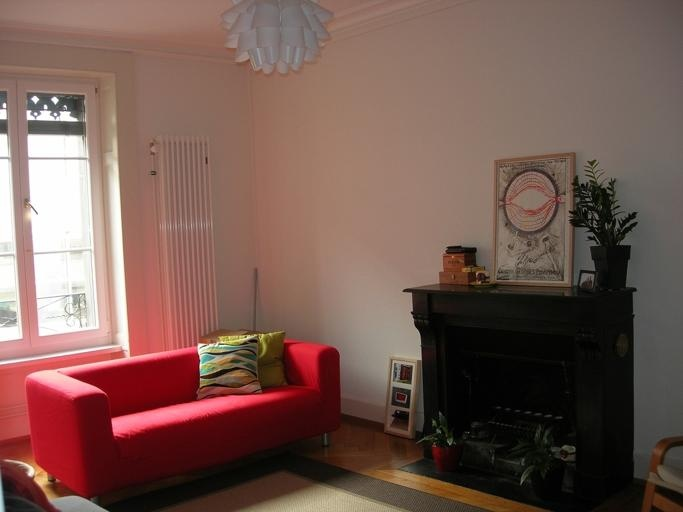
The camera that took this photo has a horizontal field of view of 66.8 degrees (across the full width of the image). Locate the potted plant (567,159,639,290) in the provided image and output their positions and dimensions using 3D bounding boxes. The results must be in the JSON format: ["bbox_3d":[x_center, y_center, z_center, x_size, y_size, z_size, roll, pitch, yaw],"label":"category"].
[{"bbox_3d":[1.790,-0.231,3.541,0.425,0.896,0.399,-3,3,27],"label":"potted plant"}]

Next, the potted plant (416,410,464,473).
[{"bbox_3d":[0.778,1.422,3.924,0.353,0.357,0.298,-7,-15,24],"label":"potted plant"}]

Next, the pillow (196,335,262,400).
[{"bbox_3d":[-0.905,0.924,4.197,0.410,0.408,0.156,-7,-33,-8],"label":"pillow"}]

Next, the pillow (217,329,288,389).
[{"bbox_3d":[-0.752,0.929,4.555,0.376,0.645,0.698,8,-16,14],"label":"pillow"}]

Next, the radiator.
[{"bbox_3d":[-1.647,-0.162,5.373,0.543,2.200,0.221,2,-13,-30],"label":"radiator"}]

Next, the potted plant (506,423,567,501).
[{"bbox_3d":[1.358,1.382,3.559,0.400,0.413,0.382,1,5,22],"label":"potted plant"}]

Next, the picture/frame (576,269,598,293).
[{"bbox_3d":[1.659,0.171,3.491,0.015,0.151,0.157,17,-8,-21],"label":"picture/frame"}]
